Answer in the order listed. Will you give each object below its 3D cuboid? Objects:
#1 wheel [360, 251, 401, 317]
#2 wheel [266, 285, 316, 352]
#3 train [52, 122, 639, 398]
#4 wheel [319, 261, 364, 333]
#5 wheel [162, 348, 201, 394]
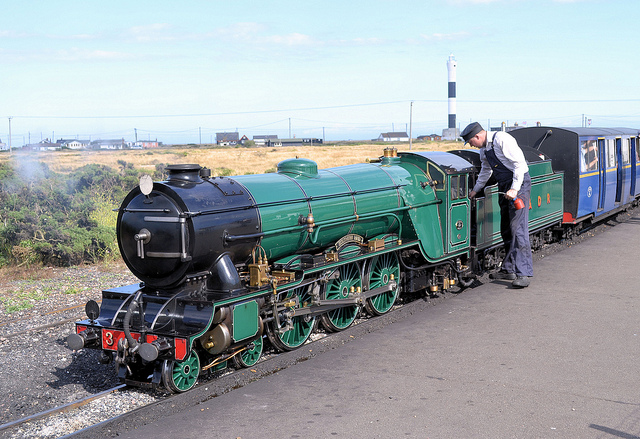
[{"bbox_3d":[1.104,1.193,9.094,0.251,1.346,1.255,1,6,39],"label":"wheel"},{"bbox_3d":[-0.414,1.612,7.677,0.246,0.983,1.124,2,12,37],"label":"wheel"},{"bbox_3d":[-0.025,0.564,8.241,7.484,3.390,1.483,-12,12,-38],"label":"train"},{"bbox_3d":[0.349,1.313,8.341,0.235,1.236,1.170,5,12,35],"label":"wheel"},{"bbox_3d":[-1.779,2.001,6.383,0.531,0.503,0.296,-11,12,-30],"label":"wheel"}]
